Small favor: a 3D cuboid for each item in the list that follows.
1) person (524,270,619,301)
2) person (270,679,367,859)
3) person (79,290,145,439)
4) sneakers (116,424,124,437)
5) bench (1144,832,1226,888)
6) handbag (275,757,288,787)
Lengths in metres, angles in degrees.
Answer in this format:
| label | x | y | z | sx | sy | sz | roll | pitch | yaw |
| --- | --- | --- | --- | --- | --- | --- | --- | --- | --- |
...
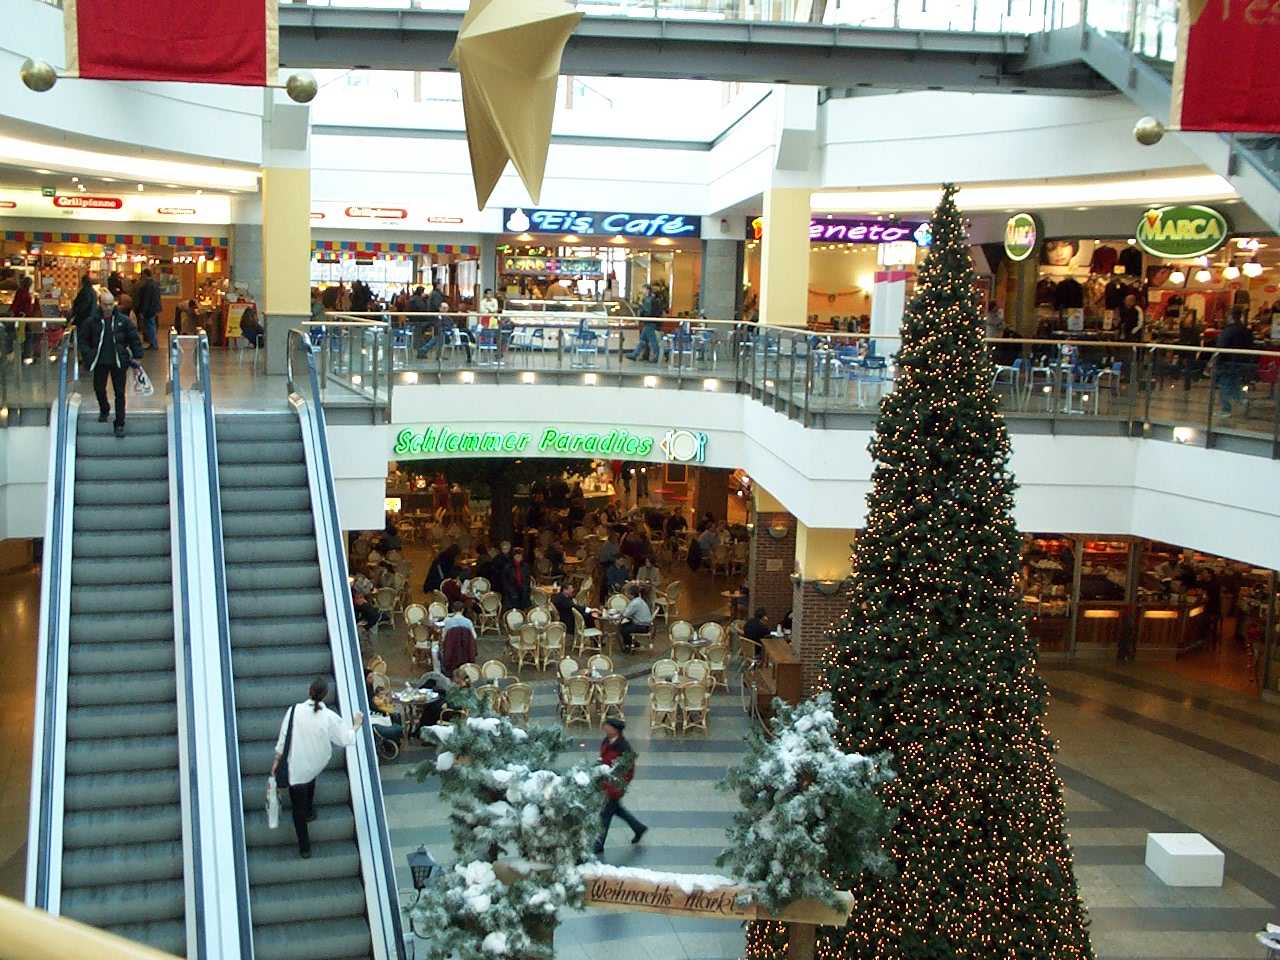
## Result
| label | x | y | z | sx | sy | sz | roll | pitch | yaw |
| --- | --- | --- | --- | --- | --- | --- | --- | --- | --- |
| person | -2.138 | -5.650 | 29.889 | 1.638 | 0.584 | 0.494 | 1 | 0 | -17 |
| person | -2.887 | 2.463 | 9.059 | 0.755 | 1.550 | 0.629 | -1 | 4 | -16 |
| person | -6.318 | -1.387 | 12.239 | 0.621 | 1.640 | 1.757 | -2 | 5 | -27 |
| sneakers | -5.903 | -0.557 | 11.649 | 0.112 | 0.142 | 0.112 | -3 | 5 | -41 |
| bench | 6.125 | 4.234 | 11.688 | 0.564 | 0.369 | 0.582 | -1 | 4 | 6 |
| handbag | -3.106 | 2.526 | 8.849 | 0.111 | 0.296 | 0.239 | -1 | 4 | -21 |
